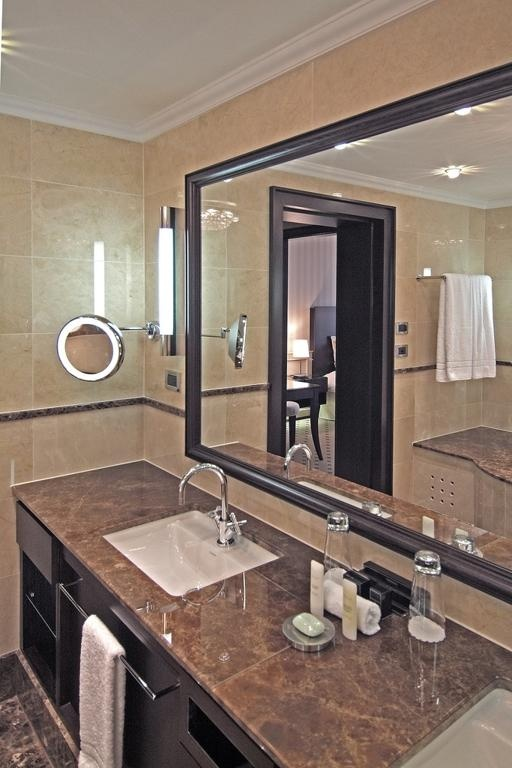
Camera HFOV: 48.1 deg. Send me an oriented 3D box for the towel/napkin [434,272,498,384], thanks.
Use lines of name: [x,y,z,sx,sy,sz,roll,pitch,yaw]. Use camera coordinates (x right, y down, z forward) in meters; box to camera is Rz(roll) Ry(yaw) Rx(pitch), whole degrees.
towel/napkin: [0.412,-0.108,1.133,0.030,0.213,0.140,-5,8,-28]

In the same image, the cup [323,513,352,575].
cup: [0.175,0.340,1.244,0.056,0.137,0.078,0,8,7]

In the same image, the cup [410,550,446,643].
cup: [0.326,0.404,1.087,0.065,0.214,0.139,2,8,19]

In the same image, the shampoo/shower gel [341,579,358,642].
shampoo/shower gel: [0.184,0.451,1.152,0.021,0.125,0.048,-7,10,-40]

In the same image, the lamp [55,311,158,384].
lamp: [-0.596,-0.130,2.081,0.241,0.241,0.100,-3,8,-19]

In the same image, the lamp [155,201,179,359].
lamp: [-0.320,-0.373,2.096,0.090,0.532,0.057,1,7,10]

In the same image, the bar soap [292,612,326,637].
bar soap: [0.108,0.485,1.163,0.033,0.011,0.043,-8,9,-33]
